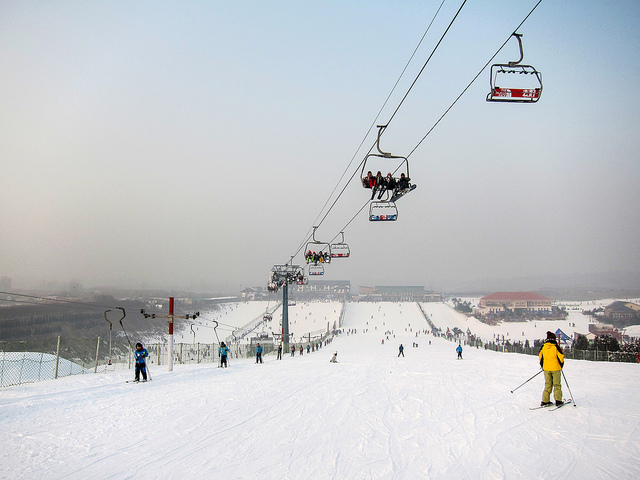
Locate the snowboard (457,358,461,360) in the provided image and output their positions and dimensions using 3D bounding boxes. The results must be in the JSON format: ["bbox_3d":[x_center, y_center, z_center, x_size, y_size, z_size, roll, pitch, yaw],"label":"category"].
[{"bbox_3d":[8.080,6.705,30.391,0.171,0.083,0.966,-4,-14,15],"label":"snowboard"}]

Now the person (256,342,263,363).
[{"bbox_3d":[-3.462,6.281,29.836,0.247,1.001,1.205,2,-12,-10],"label":"person"}]

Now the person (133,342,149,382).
[{"bbox_3d":[-7.007,4.672,20.567,0.507,1.437,1.061,3,-12,-18],"label":"person"}]

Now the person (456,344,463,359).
[{"bbox_3d":[8.302,6.474,31.177,0.241,0.813,1.504,-2,-13,12],"label":"person"}]

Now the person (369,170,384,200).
[{"bbox_3d":[2.122,-1.787,19.284,0.446,0.878,1.427,-1,-12,4],"label":"person"}]

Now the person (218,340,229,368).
[{"bbox_3d":[-4.898,5.695,26.662,0.410,1.210,1.490,2,-12,-11],"label":"person"}]
